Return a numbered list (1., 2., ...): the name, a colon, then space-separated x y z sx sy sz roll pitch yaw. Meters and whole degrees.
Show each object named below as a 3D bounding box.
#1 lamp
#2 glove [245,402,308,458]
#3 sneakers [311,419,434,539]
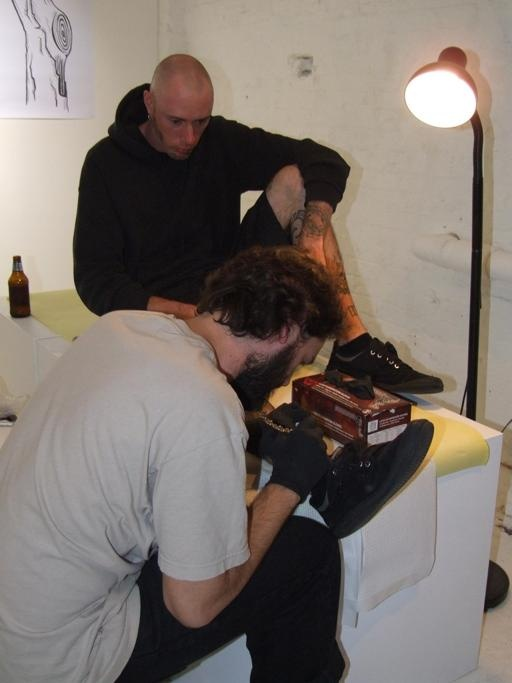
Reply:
1. lamp: 0.503 0.003 1.387 0.267 1.252 0.453 4 12 24
2. glove: 0.028 0.142 0.964 0.114 0.046 0.071 -29 -2 5
3. sneakers: 0.186 0.223 0.911 0.133 0.197 0.066 39 8 -10
